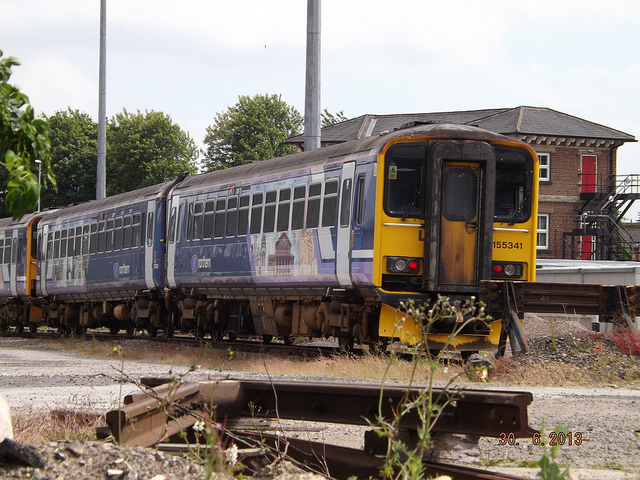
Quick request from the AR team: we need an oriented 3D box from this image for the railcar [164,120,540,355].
[{"bbox_3d":[-1.506,0.278,20.427,3.387,5.379,17.240,1,-2,-29],"label":"railcar"}]
